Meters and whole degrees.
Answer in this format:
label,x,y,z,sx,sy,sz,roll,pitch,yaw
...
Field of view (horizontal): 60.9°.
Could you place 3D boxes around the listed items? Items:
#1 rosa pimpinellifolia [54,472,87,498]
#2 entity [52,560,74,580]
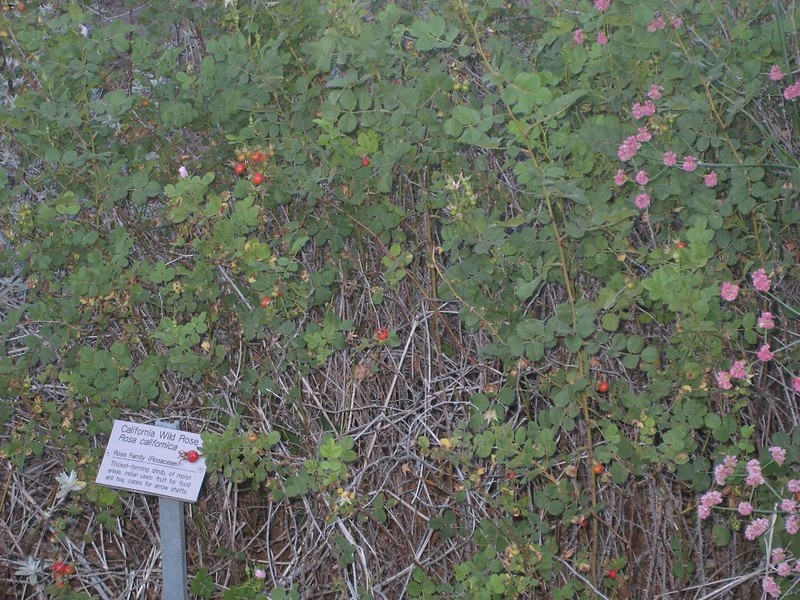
label,x,y,z,sx,sy,sz,roll,pitch,yaw
rosa pimpinellifolia,-1.154,0.626,2.379,0.093,0.104,0.039,13,-10,-22
entity,-1.172,0.939,2.372,0.078,0.042,0.062,-10,-30,20
